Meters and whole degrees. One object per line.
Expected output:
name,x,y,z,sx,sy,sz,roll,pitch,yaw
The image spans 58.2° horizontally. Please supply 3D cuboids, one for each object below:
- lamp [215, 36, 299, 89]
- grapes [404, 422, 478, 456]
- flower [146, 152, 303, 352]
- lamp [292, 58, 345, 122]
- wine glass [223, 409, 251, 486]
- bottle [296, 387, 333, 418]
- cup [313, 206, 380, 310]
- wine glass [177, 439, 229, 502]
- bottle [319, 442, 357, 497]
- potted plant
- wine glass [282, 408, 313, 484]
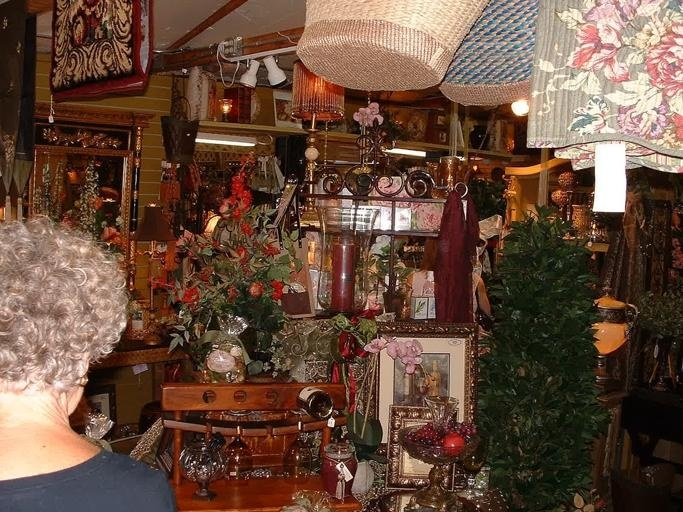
lamp,-0.635,-1.624,5.171,0.856,0.400,0.223,-1,16,-6
grapes,0.356,0.657,2.189,0.152,0.058,0.151,1,-3,-5
flower,-0.396,0.112,2.718,0.488,0.584,0.452,-21,31,-31
lamp,-0.181,-1.260,4.653,0.344,0.370,0.345,3,16,-1
wine glass,-0.389,0.714,2.341,0.097,0.202,0.227,3,3,-10
bottle,-0.088,0.540,2.247,0.111,0.112,0.164,0,-3,-13
cup,0.015,0.013,2.401,0.213,0.418,0.143,3,3,-1
wine glass,-0.485,0.759,2.213,0.174,0.218,0.188,6,-7,-44
bottle,-0.008,0.790,2.291,0.142,0.181,0.172,2,6,-3
potted plant,0.195,0.163,3.175,0.180,0.319,0.211,11,-27,-13
wine glass,-0.166,0.733,2.326,0.107,0.249,0.108,6,6,11
